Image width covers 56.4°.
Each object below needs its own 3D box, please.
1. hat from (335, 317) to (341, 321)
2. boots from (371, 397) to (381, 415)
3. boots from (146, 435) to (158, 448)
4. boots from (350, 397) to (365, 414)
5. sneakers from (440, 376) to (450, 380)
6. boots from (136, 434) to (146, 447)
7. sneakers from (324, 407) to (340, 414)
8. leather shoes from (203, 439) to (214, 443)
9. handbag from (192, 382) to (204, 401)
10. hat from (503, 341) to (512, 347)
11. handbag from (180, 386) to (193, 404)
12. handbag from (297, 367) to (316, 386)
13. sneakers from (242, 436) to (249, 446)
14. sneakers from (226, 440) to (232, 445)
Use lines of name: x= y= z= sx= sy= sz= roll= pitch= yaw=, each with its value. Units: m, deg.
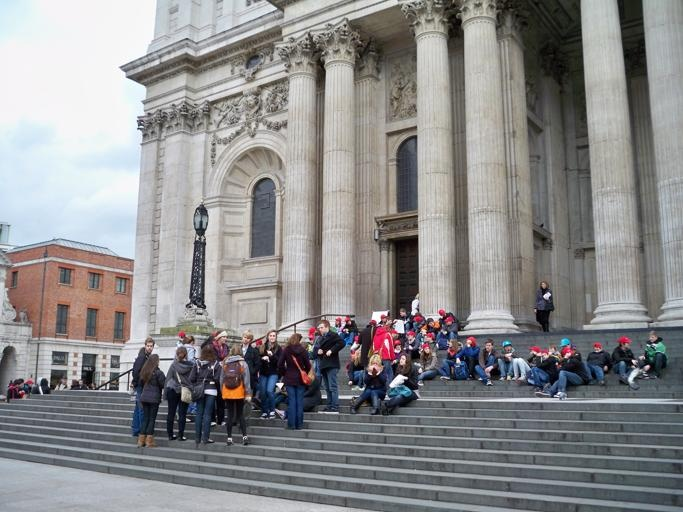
hat: x=-0.107 y=2.503 z=25.341 sx=0.194 sy=0.091 sz=0.197 roll=-2 pitch=3 yaw=-3
boots: x=0.877 y=3.684 z=15.815 sx=0.156 sy=0.463 sz=0.320 roll=-5 pitch=-9 yaw=38
boots: x=-4.761 y=4.599 z=15.856 sx=0.147 sy=0.286 sz=0.397 roll=0 pitch=0 yaw=13
boots: x=0.409 y=3.761 z=16.097 sx=0.293 sy=0.428 sz=0.319 roll=-2 pitch=-14 yaw=2
sneakers: x=3.040 y=3.603 z=18.730 sx=0.246 sy=0.094 sz=0.100 roll=5 pitch=29 yaw=21
boots: x=-4.911 y=4.575 z=15.822 sx=0.202 sy=0.352 sz=0.304 roll=8 pitch=-17 yaw=-30
sneakers: x=-0.252 y=4.025 z=16.576 sx=0.383 sy=0.169 sz=0.156 roll=3 pitch=-14 yaw=0
leather shoes: x=-3.227 y=4.510 z=15.499 sx=0.233 sy=0.095 sz=0.085 roll=-1 pitch=0 yaw=-21
handbag: x=-3.466 y=3.297 z=15.476 sx=0.296 sy=0.360 sz=0.182 roll=-9 pitch=-16 yaw=28
hat: x=4.654 y=2.436 z=17.898 sx=0.184 sy=0.125 sz=0.255 roll=-7 pitch=-20 yaw=5
handbag: x=-3.761 y=3.356 z=15.493 sx=0.142 sy=0.411 sz=0.398 roll=2 pitch=-4 yaw=40
handbag: x=-0.835 y=2.999 z=15.698 sx=0.306 sy=0.459 sz=0.488 roll=-3 pitch=-26 yaw=-8
sneakers: x=-2.323 y=4.405 z=15.240 sx=0.196 sy=0.200 sz=0.140 roll=-3 pitch=5 yaw=-28
sneakers: x=-2.666 y=4.425 z=15.184 sx=0.073 sy=0.138 sz=0.193 roll=2 pitch=6 yaw=16
